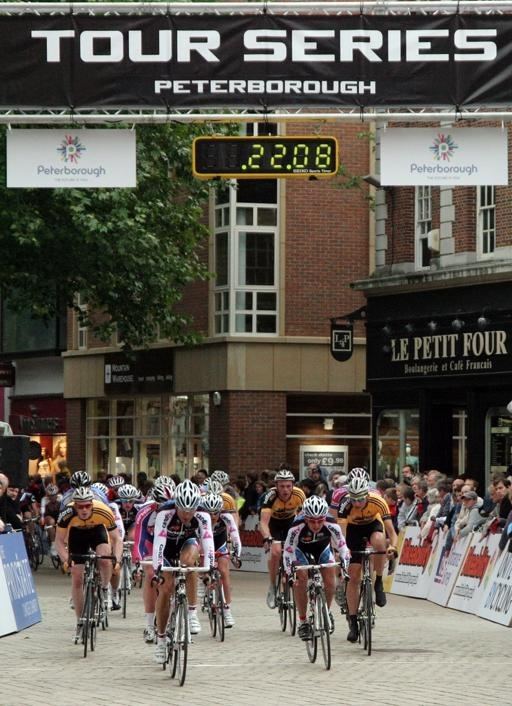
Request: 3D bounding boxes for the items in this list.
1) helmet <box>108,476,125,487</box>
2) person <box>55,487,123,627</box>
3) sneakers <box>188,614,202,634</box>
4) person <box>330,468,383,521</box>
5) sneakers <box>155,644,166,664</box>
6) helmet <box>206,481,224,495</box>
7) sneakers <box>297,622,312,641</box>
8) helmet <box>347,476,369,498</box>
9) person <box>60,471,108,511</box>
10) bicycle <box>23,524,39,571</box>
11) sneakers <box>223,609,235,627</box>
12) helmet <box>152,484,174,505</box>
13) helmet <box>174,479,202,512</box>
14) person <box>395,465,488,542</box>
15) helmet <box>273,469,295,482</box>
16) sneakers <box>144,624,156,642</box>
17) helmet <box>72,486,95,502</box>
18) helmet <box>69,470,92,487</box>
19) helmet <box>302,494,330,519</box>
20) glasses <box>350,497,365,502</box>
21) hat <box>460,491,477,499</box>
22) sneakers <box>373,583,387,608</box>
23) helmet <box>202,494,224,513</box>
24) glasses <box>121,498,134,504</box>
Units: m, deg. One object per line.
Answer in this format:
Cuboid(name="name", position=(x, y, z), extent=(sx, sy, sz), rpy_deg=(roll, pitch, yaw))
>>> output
Cuboid(name="helmet", position=(-2.004, 1.876, 20.688), extent=(0.206, 0.111, 0.301), rpy_deg=(-1, 8, -6))
Cuboid(name="person", position=(-1.703, 2.131, 14.803), extent=(0.632, 1.568, 2.043), rpy_deg=(-1, 9, -6))
Cuboid(name="sneakers", position=(-0.580, 2.587, 13.601), extent=(0.110, 0.137, 0.317), rpy_deg=(0, -1, -10))
Cuboid(name="person", position=(1.113, 1.628, 16.298), extent=(0.559, 0.516, 0.951), rpy_deg=(-3, -4, 2))
Cuboid(name="sneakers", position=(-0.849, 2.705, 12.848), extent=(0.087, 0.171, 0.042), rpy_deg=(-1, -9, 14))
Cuboid(name="helmet", position=(-0.446, 1.540, 15.634), extent=(0.153, 0.207, 0.187), rpy_deg=(0, 22, 4))
Cuboid(name="sneakers", position=(0.467, 2.683, 13.736), extent=(0.118, 0.169, 0.167), rpy_deg=(0, -24, 0))
Cuboid(name="helmet", position=(1.044, 1.386, 14.624), extent=(0.198, 0.219, 0.325), rpy_deg=(1, -5, 4))
Cuboid(name="person", position=(-1.884, 1.523, 15.371), extent=(0.682, 0.378, 1.001), rpy_deg=(-1, 0, -3))
Cuboid(name="bicycle", position=(-4.045, 3.549, 25.921), extent=(0.256, 0.770, 1.033), rpy_deg=(2, -5, -7))
Cuboid(name="sneakers", position=(-0.299, 2.958, 15.955), extent=(0.088, 0.131, 0.275), rpy_deg=(-1, 6, -8))
Cuboid(name="helmet", position=(-0.892, 1.369, 13.879), extent=(0.177, 0.237, 0.210), rpy_deg=(-11, 15, -29))
Cuboid(name="helmet", position=(-0.592, 1.251, 12.526), extent=(0.181, 0.161, 0.306), rpy_deg=(4, 40, -12))
Cuboid(name="person", position=(2.561, 2.107, 20.135), extent=(0.566, 0.869, 1.728), rpy_deg=(0, -10, -12))
Cuboid(name="helmet", position=(0.340, 1.460, 16.878), extent=(0.202, 0.145, 0.613), rpy_deg=(1, -6, 0))
Cuboid(name="sneakers", position=(-1.063, 2.858, 14.441), extent=(0.096, 0.120, 0.258), rpy_deg=(0, -11, -4))
Cuboid(name="helmet", position=(-1.718, 1.424, 14.288), extent=(0.193, 0.147, 0.401), rpy_deg=(2, -6, -7))
Cuboid(name="helmet", position=(-1.824, 1.320, 14.908), extent=(0.162, 0.210, 0.212), rpy_deg=(0, -1, -2))
Cuboid(name="helmet", position=(0.582, 1.512, 13.900), extent=(0.223, 0.207, 0.253), rpy_deg=(3, -6, -17))
Cuboid(name="glasses", position=(1.059, 1.518, 14.720), extent=(0.077, 0.030, 0.080), rpy_deg=(2, 8, 6))
Cuboid(name="hat", position=(2.737, 1.814, 18.255), extent=(0.090, 0.073, 0.139), rpy_deg=(-4, -21, 42))
Cuboid(name="sneakers", position=(1.359, 2.665, 15.658), extent=(0.118, 0.343, 0.149), rpy_deg=(-2, -3, 6))
Cuboid(name="helmet", position=(-0.452, 1.587, 14.992), extent=(0.151, 0.123, 0.247), rpy_deg=(1, 27, -5))
Cuboid(name="glasses", position=(-1.770, 2.066, 19.773), extent=(0.142, 0.066, 0.190), rpy_deg=(0, -14, -7))
